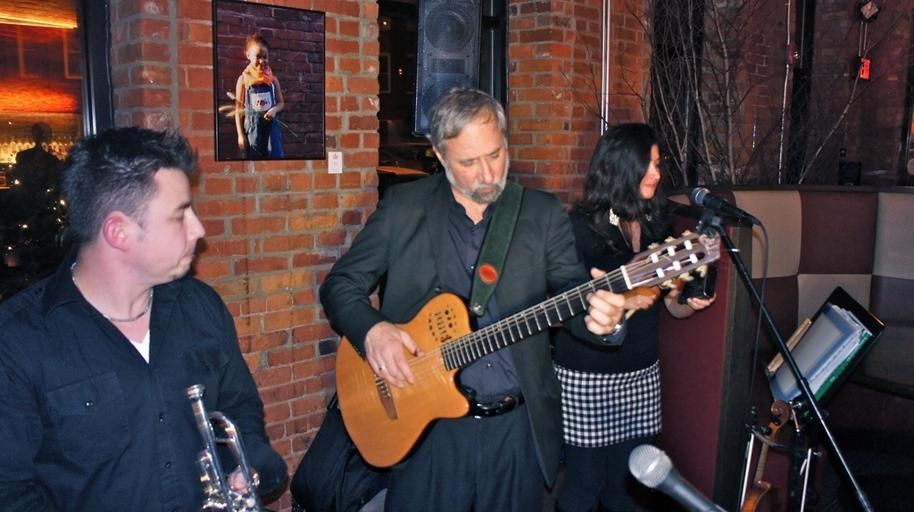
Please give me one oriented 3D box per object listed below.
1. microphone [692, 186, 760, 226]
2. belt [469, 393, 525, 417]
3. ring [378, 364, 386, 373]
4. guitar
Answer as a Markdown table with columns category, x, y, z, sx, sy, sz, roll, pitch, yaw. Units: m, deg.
| category | x | y | z | sx | sy | sz | roll | pitch | yaw |
| --- | --- | --- | --- | --- | --- | --- | --- | --- | --- |
| microphone | 1.572 | -0.289 | 3.791 | 0.496 | 0.131 | 0.123 | 27 | 22 | 31 |
| belt | 0.215 | 0.816 | 3.533 | 0.189 | 0.055 | 0.161 | -8 | 5 | -23 |
| ring | -0.417 | 0.628 | 3.614 | 0.050 | 0.025 | 0.012 | 5 | 11 | -8 |
| guitar | 0.360 | 0.507 | 3.947 | 2.540 | 0.990 | 0.285 | -19 | -7 | 19 |
